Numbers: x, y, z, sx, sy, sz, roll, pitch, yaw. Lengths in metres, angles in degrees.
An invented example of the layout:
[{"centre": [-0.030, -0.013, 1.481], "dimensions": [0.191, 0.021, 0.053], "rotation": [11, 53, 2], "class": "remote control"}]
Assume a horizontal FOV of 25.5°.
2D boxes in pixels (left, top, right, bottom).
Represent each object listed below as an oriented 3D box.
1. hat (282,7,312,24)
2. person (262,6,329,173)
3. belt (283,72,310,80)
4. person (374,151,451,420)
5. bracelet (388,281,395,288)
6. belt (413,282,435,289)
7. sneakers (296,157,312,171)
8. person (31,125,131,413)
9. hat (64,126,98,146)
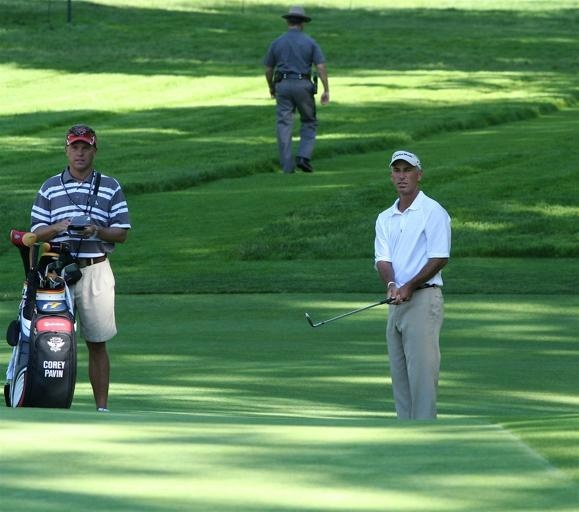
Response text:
[{"centre": [0.083, -2.813, 14.819], "dimensions": [0.297, 0.116, 0.316], "rotation": [3, -9, 6], "class": "hat"}, {"centre": [0.050, -1.786, 14.662], "dimensions": [0.710, 1.574, 1.156], "rotation": [1, 5, -1], "class": "person"}, {"centre": [0.069, -2.030, 14.467], "dimensions": [0.304, 0.070, 0.069], "rotation": [0, 5, -10], "class": "belt"}, {"centre": [0.728, 0.177, 7.863], "dimensions": [0.494, 1.633, 0.446], "rotation": [2, 6, 17], "class": "person"}, {"centre": [0.612, 0.173, 7.828], "dimensions": [0.044, 0.038, 0.080], "rotation": [1, 5, 2], "class": "bracelet"}, {"centre": [0.818, 0.181, 7.767], "dimensions": [0.117, 0.046, 0.041], "rotation": [0, 5, -2], "class": "belt"}, {"centre": [0.158, -1.101, 15.304], "dimensions": [0.106, 0.086, 0.269], "rotation": [-40, -39, 12], "class": "sneakers"}, {"centre": [-1.312, 0.062, 7.994], "dimensions": [0.606, 1.757, 0.581], "rotation": [0, 6, -11], "class": "person"}, {"centre": [-1.339, -0.769, 8.161], "dimensions": [0.184, 0.136, 0.425], "rotation": [0, 5, -10], "class": "hat"}]
